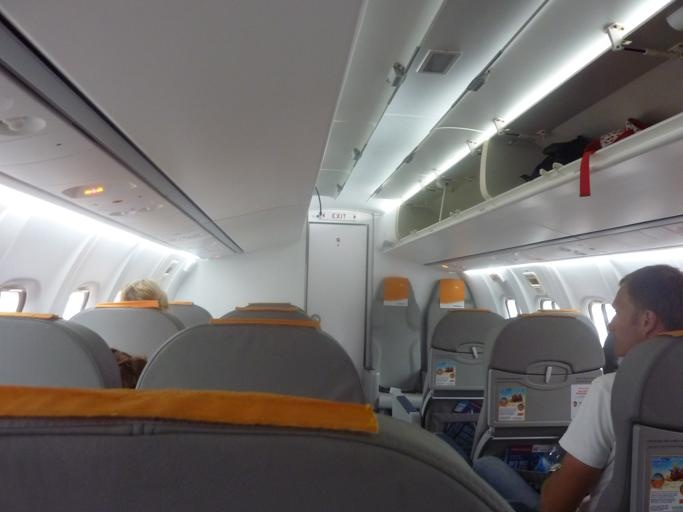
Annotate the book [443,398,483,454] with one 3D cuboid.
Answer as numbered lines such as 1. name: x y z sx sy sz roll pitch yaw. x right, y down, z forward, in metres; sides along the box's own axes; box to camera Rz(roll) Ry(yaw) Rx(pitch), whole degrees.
1. book: 1.287 1.797 4.717 0.478 0.617 0.156 10 3 -7

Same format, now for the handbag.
1. handbag: 1.771 -0.705 3.217 0.562 0.182 0.370 -23 -5 -11
